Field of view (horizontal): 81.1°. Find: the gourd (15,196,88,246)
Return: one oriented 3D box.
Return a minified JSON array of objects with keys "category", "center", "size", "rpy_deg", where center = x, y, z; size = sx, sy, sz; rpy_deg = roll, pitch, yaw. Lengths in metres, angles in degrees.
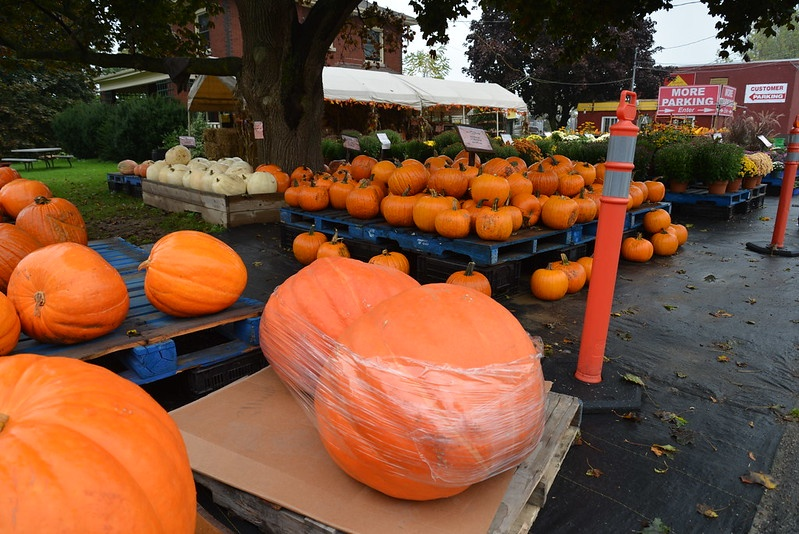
[{"category":"gourd","center":[-3.398,-0.546,4.637],"size":[0.470,0.577,0.487],"rpy_deg":[-10,-12,-5]}]

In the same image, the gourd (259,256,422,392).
[{"category":"gourd","center":[-0.484,0.300,3.102],"size":[0.897,0.884,0.791],"rpy_deg":[-5,-2,0]}]
